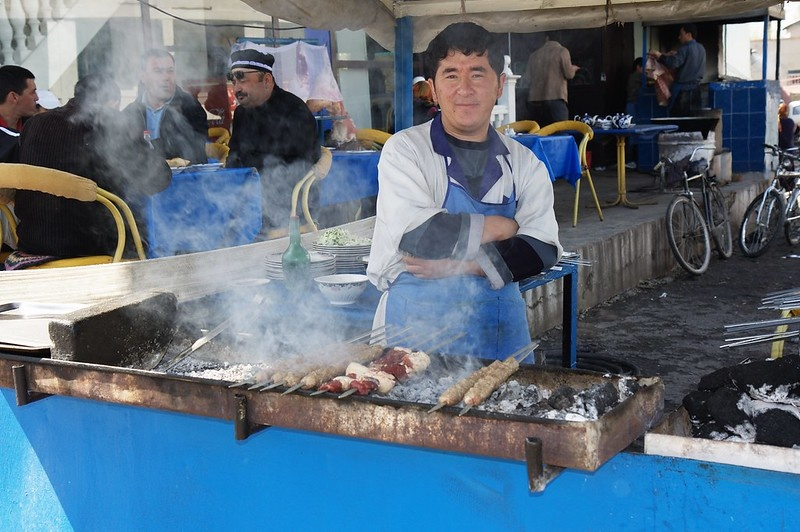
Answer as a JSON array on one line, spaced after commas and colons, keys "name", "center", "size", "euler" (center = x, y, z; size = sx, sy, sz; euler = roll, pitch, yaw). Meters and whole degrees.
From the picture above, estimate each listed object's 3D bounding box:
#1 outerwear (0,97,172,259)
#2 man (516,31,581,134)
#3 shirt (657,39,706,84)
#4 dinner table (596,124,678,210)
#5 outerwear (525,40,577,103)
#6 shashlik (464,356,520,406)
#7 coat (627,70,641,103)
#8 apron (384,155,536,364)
[{"name": "outerwear", "center": [-2.233, -0.546, 5.792], "size": [1.151, 1.248, 0.681], "euler": [0, -6, 18]}, {"name": "man", "center": [2.443, -2.693, 13.329], "size": [0.696, 2.113, 0.662], "euler": [0, -2, 31]}, {"name": "shirt", "center": [4.437, -3.125, 12.762], "size": [0.619, 0.843, 0.482], "euler": [-9, 31, -19]}, {"name": "dinner table", "center": [2.951, -1.335, 10.871], "size": [1.308, 1.115, 1.446], "euler": [-2, -6, 8]}, {"name": "outerwear", "center": [2.408, -3.116, 13.299], "size": [0.719, 1.213, 0.642], "euler": [1, -10, 27]}, {"name": "shashlik", "center": [0.409, 0.478, 3.526], "size": [0.091, 0.090, 0.483], "euler": [3, 20, 28]}, {"name": "coat", "center": [4.187, -3.193, 14.747], "size": [0.255, 0.491, 0.503], "euler": [1, -33, 3]}, {"name": "apron", "center": [0.290, -0.056, 4.285], "size": [0.673, 1.011, 0.494], "euler": [14, 8, -14]}]
